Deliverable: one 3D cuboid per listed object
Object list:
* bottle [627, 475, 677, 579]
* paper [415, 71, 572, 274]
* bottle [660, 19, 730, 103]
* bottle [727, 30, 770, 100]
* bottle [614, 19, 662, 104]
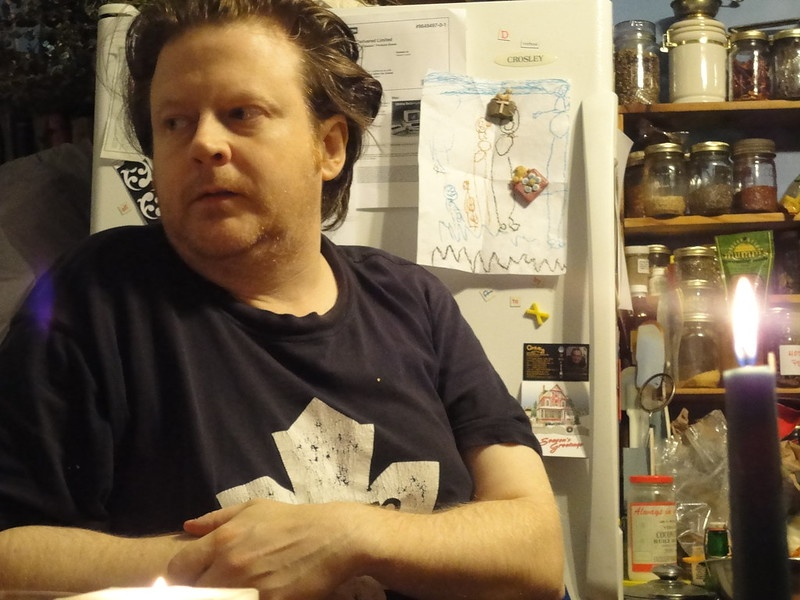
[{"bbox_3d":[0.523,0.470,1.801,0.097,0.206,0.139,-1,5,14],"label":"bottle"},{"bbox_3d":[0.187,-0.235,1.688,0.387,0.491,0.039,2,-3,0],"label":"paper"},{"bbox_3d":[0.870,-0.686,2.536,0.171,0.253,0.163,-1,-1,0],"label":"bottle"},{"bbox_3d":[0.999,-0.664,2.465,0.108,0.201,0.109,-2,5,0],"label":"bottle"},{"bbox_3d":[0.690,-0.689,2.545,0.147,0.249,0.148,1,5,0],"label":"bottle"}]
